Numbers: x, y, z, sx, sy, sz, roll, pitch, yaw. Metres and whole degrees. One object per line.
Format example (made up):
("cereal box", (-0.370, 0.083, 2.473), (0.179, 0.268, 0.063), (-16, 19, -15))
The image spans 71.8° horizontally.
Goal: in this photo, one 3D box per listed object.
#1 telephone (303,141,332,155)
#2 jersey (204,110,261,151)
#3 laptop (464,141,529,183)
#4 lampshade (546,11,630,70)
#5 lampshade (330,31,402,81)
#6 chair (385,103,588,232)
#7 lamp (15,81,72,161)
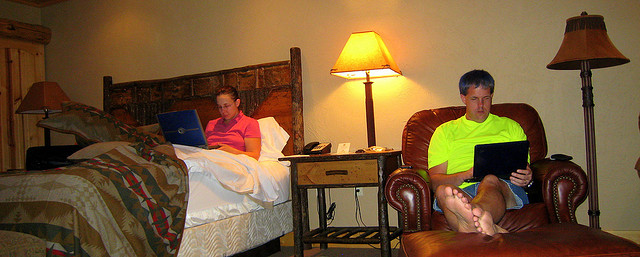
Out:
("telephone", (-0.047, 0.303, 6.889), (0.417, 0.184, 0.299), (0, -3, -3))
("jersey", (-1.494, 0.029, 7.284), (1.160, 0.590, 0.550), (3, 14, 26))
("laptop", (2.390, 0.412, 6.017), (0.900, 0.464, 0.542), (0, 4, -6))
("lampshade", (4.015, -1.371, 6.707), (1.284, 0.668, 1.135), (-3, 14, 18))
("lampshade", (0.690, -1.129, 7.124), (1.161, 0.510, 0.799), (-1, -3, 1))
("chair", (2.280, 0.835, 6.791), (3.868, 2.061, 1.923), (-2, -11, 4))
("lamp", (-4.795, -0.238, 7.753), (0.683, 1.241, 1.071), (1, -3, -43))
